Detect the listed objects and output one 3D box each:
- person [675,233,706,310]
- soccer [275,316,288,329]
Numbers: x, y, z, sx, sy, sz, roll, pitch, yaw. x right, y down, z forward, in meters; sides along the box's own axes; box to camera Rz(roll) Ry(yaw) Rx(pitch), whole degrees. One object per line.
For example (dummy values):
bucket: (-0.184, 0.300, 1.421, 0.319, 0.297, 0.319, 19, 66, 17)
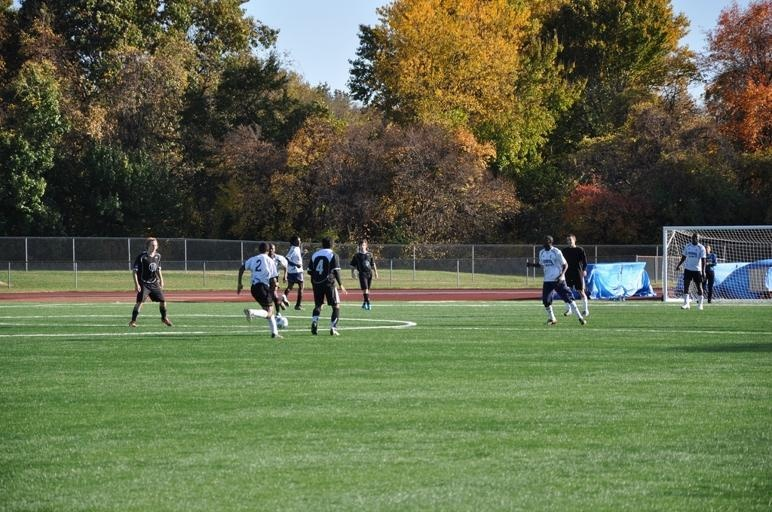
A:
person: (13.523, 0.647, 58.441, 1.442, 3.430, 1.167, -1, 0, 8)
soccer: (-3.957, 2.588, 51.196, 0.430, 0.521, 0.526, 2, -9, -36)
